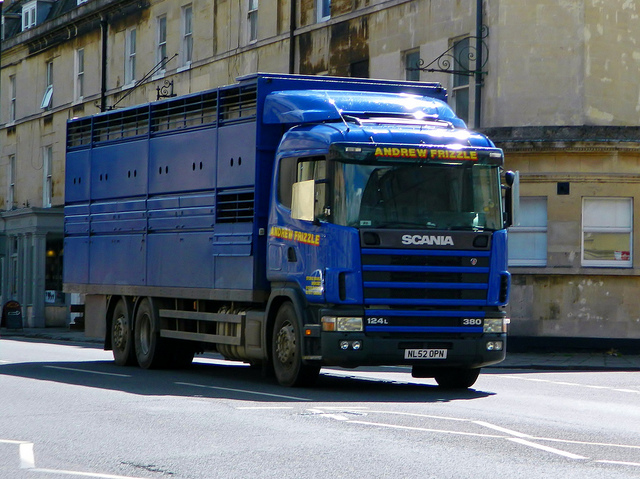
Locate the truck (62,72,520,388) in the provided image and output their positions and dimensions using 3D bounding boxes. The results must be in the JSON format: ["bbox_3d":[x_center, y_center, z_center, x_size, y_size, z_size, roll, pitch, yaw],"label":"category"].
[{"bbox_3d":[-1.337,-0.253,22.133,3.641,5.228,11.360,0,-1,-33],"label":"truck"}]
